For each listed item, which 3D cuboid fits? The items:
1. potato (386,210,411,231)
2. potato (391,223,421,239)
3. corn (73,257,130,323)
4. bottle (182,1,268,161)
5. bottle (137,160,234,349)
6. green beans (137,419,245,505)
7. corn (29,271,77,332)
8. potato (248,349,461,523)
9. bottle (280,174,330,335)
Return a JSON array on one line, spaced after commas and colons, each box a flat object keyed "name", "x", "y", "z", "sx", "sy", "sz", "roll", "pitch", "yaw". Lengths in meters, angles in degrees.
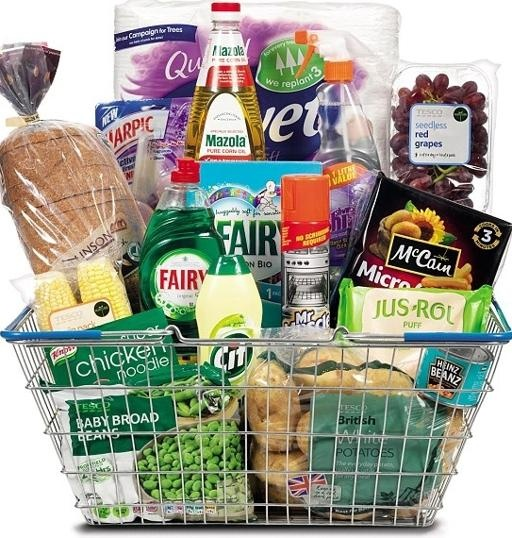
[{"name": "potato", "x": 0.303, "y": -0.110, "z": 1.282, "sx": 0.070, "sy": 0.027, "sz": 0.034, "roll": -16, "pitch": 11, "yaw": 6}, {"name": "potato", "x": 0.327, "y": -0.084, "z": 1.250, "sx": 0.058, "sy": 0.025, "sz": 0.035, "roll": 10, "pitch": 6, "yaw": 11}, {"name": "corn", "x": -0.314, "y": 0.037, "z": 1.142, "sx": 0.097, "sy": 0.132, "sz": 0.049, "roll": -14, "pitch": -20, "yaw": -15}, {"name": "bottle", "x": -0.060, "y": -0.438, "z": 1.399, "sx": 0.201, "sy": 0.369, "sz": 0.168, "roll": -3, "pitch": 19, "yaw": -3}, {"name": "bottle", "x": -0.128, "y": -0.035, "z": 1.188, "sx": 0.188, "sy": 0.369, "sz": 0.155, "roll": -2, "pitch": 15, "yaw": -3}, {"name": "green beans", "x": -0.124, "y": 0.365, "z": 1.015, "sx": 0.209, "sy": 0.162, "sz": 0.057, "roll": -6, "pitch": 26, "yaw": 0}, {"name": "corn", "x": -0.403, "y": 0.065, "z": 1.122, "sx": 0.095, "sy": 0.110, "sz": 0.050, "roll": -3, "pitch": -14, "yaw": -6}, {"name": "potato", "x": 0.165, "y": 0.322, "z": 1.033, "sx": 0.389, "sy": 0.322, "sz": 0.215, "roll": 2, "pitch": 16, "yaw": 11}, {"name": "bottle", "x": 0.060, "y": -0.028, "z": 1.132, "sx": 0.130, "sy": 0.279, "sz": 0.112, "roll": 1, "pitch": 19, "yaw": -3}]
